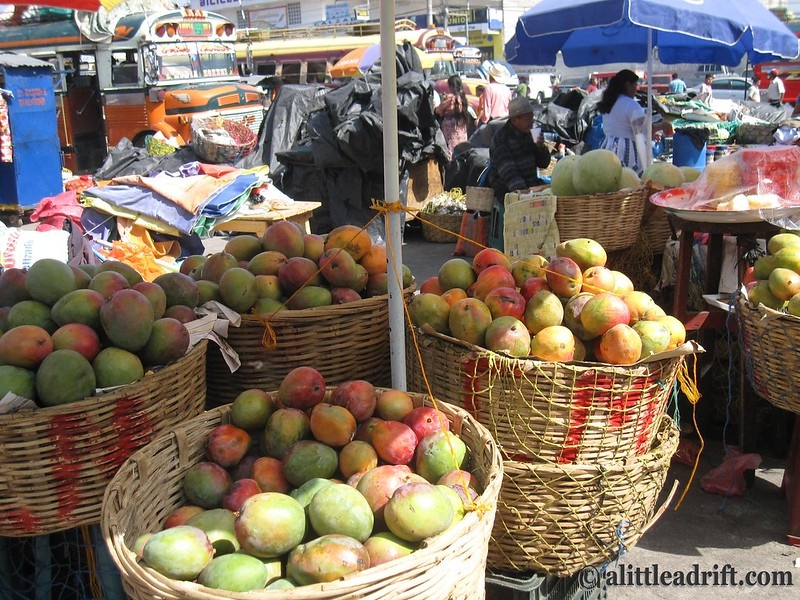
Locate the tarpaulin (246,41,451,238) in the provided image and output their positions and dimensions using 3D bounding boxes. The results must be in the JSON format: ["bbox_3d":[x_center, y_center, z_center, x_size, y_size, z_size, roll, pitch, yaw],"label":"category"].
[{"bbox_3d":[-1.115,-2.363,9.605,3.352,2.575,2.659,12,22,36],"label":"tarpaulin"}]

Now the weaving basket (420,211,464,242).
[{"bbox_3d":[0.599,-1.040,9.371,0.724,0.566,0.839,0,4,-5],"label":"weaving basket"}]

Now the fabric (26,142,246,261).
[{"bbox_3d":[-2.908,-1.236,7.703,2.187,0.848,1.826,11,32,21],"label":"fabric"}]

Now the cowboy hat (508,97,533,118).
[{"bbox_3d":[1.221,-1.889,6.464,0.198,0.084,0.184,-5,25,46],"label":"cowboy hat"}]

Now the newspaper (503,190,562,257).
[{"bbox_3d":[1.058,-0.579,5.079,0.164,0.591,0.511,0,2,-34],"label":"newspaper"}]

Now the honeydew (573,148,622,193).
[{"bbox_3d":[1.474,-0.951,4.875,0.320,0.358,0.308,-15,18,-36],"label":"honeydew"}]

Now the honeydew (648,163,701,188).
[{"bbox_3d":[2.158,-0.947,5.039,0.361,0.242,0.294,4,1,8],"label":"honeydew"}]

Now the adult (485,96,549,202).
[{"bbox_3d":[1.323,-1.372,6.768,0.610,1.281,1.065,-3,35,8],"label":"adult"}]

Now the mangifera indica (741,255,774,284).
[{"bbox_3d":[2.175,-0.163,3.895,0.155,0.208,0.155,0,-23,31],"label":"mangifera indica"}]

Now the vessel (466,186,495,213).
[{"bbox_3d":[0.944,-1.156,7.463,0.402,0.346,0.232,14,22,34],"label":"vessel"}]
